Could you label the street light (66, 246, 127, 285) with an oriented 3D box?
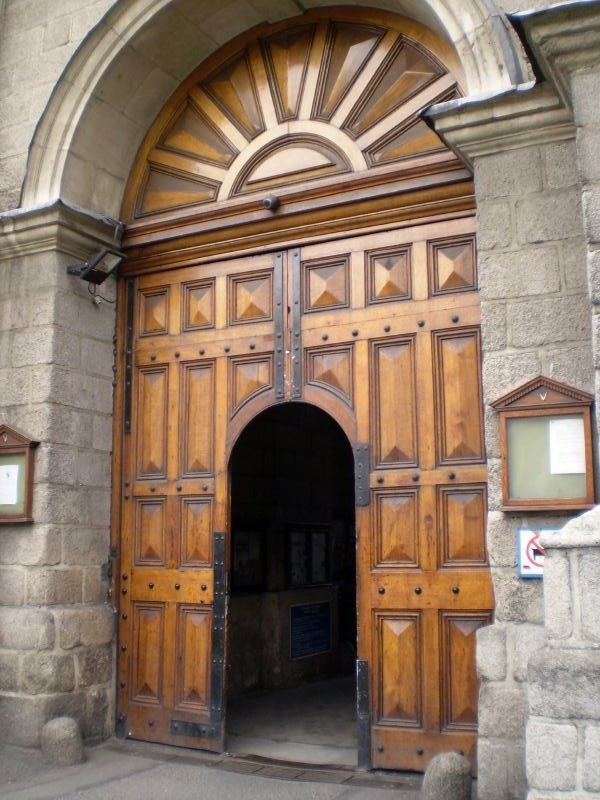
[{"bbox_3d":[-1.344,-0.890,4.897,0.293,0.140,0.215,-11,-14,28],"label":"street light"}]
